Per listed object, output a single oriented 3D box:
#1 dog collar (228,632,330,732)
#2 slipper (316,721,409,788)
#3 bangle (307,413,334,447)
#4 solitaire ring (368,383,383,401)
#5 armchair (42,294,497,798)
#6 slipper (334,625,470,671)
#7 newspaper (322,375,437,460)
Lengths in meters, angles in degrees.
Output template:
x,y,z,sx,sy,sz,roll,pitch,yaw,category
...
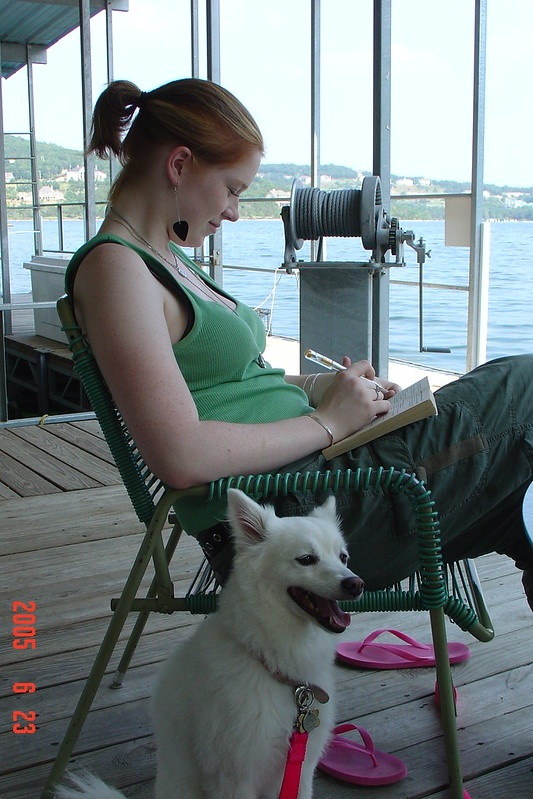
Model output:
x,y,z,sx,sy,sz,roll,pitch,yaw,category
0.017,0.355,0.784,0.120,0.104,0.043,1,11,-2,dog collar
0.178,0.665,1.226,0.111,0.053,0.225,0,-13,-27,slipper
0.094,0.055,1.099,0.014,0.052,0.042,-29,-36,34,bangle
0.224,-0.017,1.254,0.017,0.038,0.029,-18,0,19,solitaire ring
-0.036,0.212,1.459,0.969,0.969,0.817,-4,-5,11,armchair
0.336,0.668,1.656,0.413,0.079,0.214,0,-1,7,slipper
0.203,0.000,1.131,0.195,0.036,0.219,9,-2,18,newspaper
